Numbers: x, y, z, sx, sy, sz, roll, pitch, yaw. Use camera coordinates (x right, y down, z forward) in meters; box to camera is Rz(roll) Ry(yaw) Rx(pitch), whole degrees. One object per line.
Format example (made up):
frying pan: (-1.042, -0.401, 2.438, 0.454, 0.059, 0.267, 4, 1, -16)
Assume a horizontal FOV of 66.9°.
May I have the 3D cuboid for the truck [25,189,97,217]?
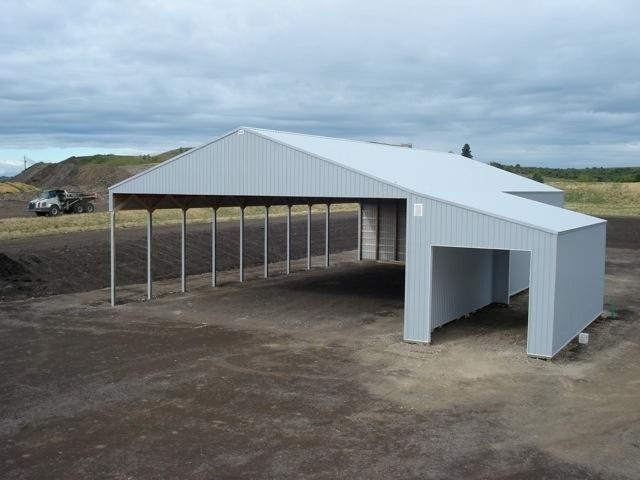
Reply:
truck: (-22.428, -3.209, 42.036, 3.377, 1.643, 4.766, 1, 2, 33)
